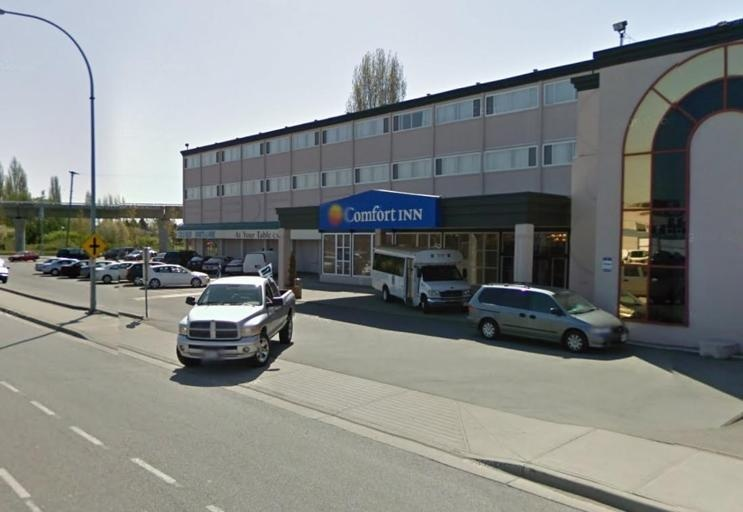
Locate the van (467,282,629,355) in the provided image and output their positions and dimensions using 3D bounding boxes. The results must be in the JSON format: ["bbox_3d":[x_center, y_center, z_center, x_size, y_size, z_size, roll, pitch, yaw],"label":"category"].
[{"bbox_3d":[5.900,1.937,21.614,4.583,1.862,2.143,0,3,36],"label":"van"}]

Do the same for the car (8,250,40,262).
[{"bbox_3d":[-42.536,-0.023,77.467,1.581,1.217,2.767,-3,-7,35],"label":"car"}]

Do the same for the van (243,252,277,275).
[{"bbox_3d":[-7.778,0.242,43.900,1.691,1.560,2.822,2,7,35],"label":"van"}]

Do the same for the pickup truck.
[{"bbox_3d":[-4.059,1.965,19.205,2.305,2.316,3.581,3,9,17],"label":"pickup truck"}]
